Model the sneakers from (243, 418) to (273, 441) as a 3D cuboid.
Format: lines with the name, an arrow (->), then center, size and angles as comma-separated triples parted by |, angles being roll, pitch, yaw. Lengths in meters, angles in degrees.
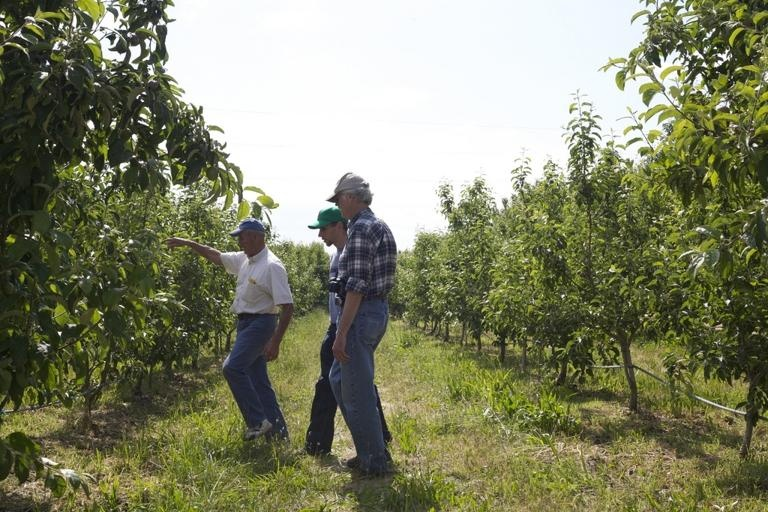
sneakers -> -1.548, 2.133, 7.830 | 0.395, 0.190, 0.152 | -30, -14, -17

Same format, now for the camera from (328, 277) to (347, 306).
camera -> -0.534, 0.404, 7.152 | 0.105, 0.312, 0.199 | 1, -2, -20

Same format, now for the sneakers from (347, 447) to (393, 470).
sneakers -> -0.181, 2.299, 7.073 | 0.400, 0.206, 0.263 | -10, 2, -2

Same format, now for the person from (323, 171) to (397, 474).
person -> -0.229, 0.720, 6.932 | 0.675, 3.306, 0.462 | 1, -5, -8

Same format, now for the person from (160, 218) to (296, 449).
person -> -1.706, 0.900, 8.007 | 1.251, 2.739, 0.723 | -2, -6, 19
